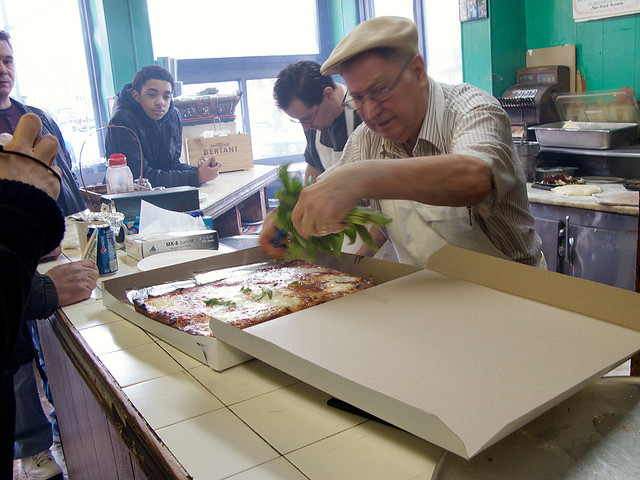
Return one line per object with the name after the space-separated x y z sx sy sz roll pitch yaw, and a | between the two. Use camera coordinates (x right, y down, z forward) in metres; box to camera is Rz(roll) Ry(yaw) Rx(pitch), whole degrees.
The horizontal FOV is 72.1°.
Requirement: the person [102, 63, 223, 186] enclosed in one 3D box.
-1.498 -1.041 4.108 0.703 1.113 0.875 4 15 44 | person

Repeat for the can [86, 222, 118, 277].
-0.898 0.036 1.830 0.099 0.234 0.097 10 20 -4 | can

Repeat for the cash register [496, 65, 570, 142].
1.806 -1.172 3.747 0.463 0.644 0.532 4 14 42 | cash register

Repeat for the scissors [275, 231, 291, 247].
-0.133 -0.006 1.573 0.038 0.039 0.041 34 -20 6 | scissors

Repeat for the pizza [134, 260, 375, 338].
-0.198 0.154 1.419 0.690 0.069 0.446 -14 14 -35 | pizza
